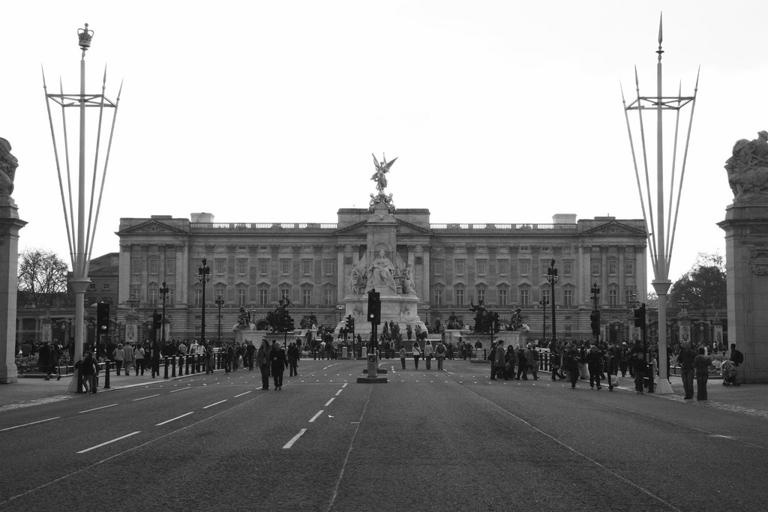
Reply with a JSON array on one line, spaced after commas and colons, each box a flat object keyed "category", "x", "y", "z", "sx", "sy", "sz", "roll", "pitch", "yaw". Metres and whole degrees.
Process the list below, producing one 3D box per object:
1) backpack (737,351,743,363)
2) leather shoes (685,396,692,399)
[{"category": "backpack", "x": 17.597, "y": 4.903, "z": 53.201, "sx": 0.269, "sy": 0.545, "sz": 0.818, "roll": -5, "pitch": -10, "yaw": 22}, {"category": "leather shoes", "x": 13.485, "y": 6.138, "z": 47.567, "sx": 0.296, "sy": 0.173, "sz": 0.526, "roll": -4, "pitch": -10, "yaw": 14}]
